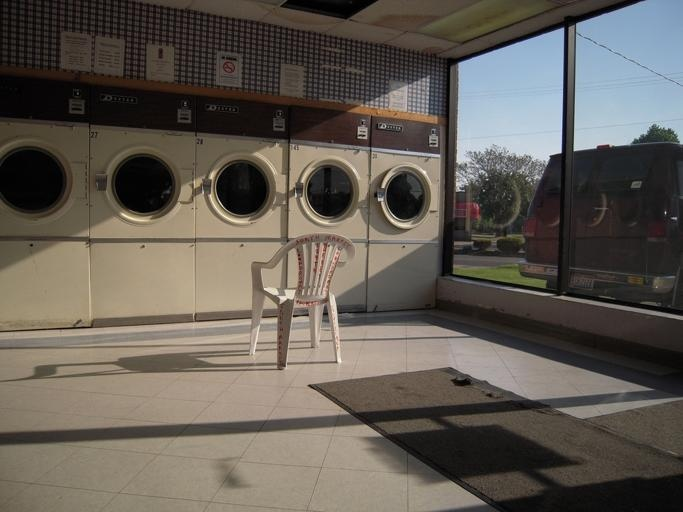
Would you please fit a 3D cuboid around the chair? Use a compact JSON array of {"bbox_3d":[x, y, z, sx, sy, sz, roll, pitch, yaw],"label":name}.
[{"bbox_3d":[-0.339,0.329,3.883,0.819,1.058,0.847,3,5,4],"label":"chair"}]
